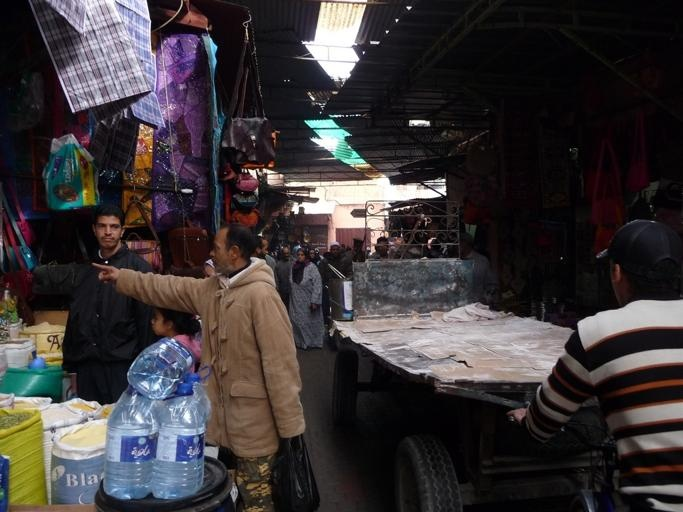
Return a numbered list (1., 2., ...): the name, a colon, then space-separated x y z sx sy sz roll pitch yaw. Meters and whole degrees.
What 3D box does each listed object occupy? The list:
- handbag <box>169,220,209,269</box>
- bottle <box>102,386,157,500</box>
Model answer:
1. handbag: -1.429 -0.083 4.991 0.363 0.428 0.354 -3 -1 3
2. bottle: -0.906 0.812 2.308 0.206 0.434 0.203 0 4 0
